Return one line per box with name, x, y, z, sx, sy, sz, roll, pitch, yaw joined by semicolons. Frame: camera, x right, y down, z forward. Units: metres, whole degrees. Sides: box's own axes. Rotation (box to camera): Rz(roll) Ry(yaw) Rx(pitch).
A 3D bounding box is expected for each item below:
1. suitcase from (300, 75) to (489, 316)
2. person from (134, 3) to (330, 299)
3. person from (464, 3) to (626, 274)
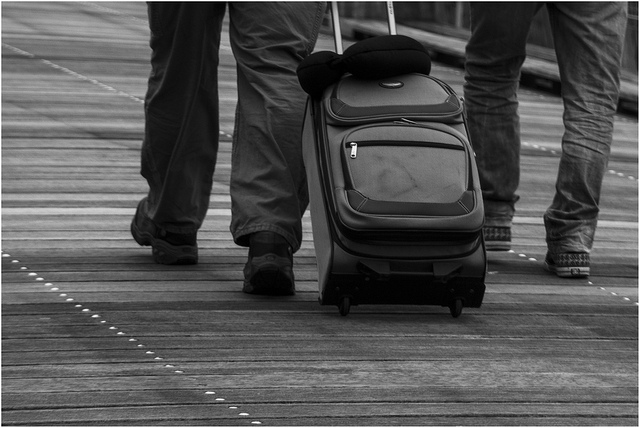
suitcase;0.241;-0.071;3.192;0.643;0.747;0.347;3;-1;-2
person;-0.360;-0.234;3.468;0.760;1.008;0.431;3;-1;12
person;0.903;-0.324;3.916;0.629;0.972;0.365;3;-1;8
